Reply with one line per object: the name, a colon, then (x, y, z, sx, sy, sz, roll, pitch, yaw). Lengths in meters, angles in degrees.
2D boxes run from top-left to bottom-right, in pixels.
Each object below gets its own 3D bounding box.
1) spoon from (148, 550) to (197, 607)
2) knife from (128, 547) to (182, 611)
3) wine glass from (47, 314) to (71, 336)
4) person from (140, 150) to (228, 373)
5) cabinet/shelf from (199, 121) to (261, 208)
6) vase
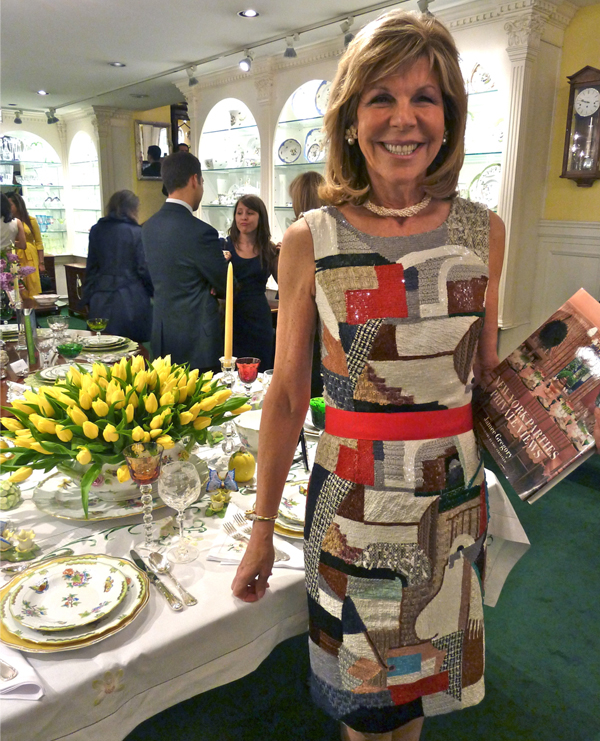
spoon: (-0.213, 0.350, 1.041, 0.039, 0.020, 0.155, -7, 10, -25)
knife: (-0.242, 0.359, 1.025, 0.042, 0.010, 0.228, -6, 14, -29)
wine glass: (-0.954, -0.183, 2.429, 0.097, 0.095, 0.094, -1, 11, -16)
person: (-0.618, -0.545, 3.226, 0.447, 1.165, 0.334, -5, 13, -8)
cabinet/shelf: (-0.542, -1.808, 5.480, 0.591, 0.483, 0.194, 4, 14, 29)
vase: (-0.343, 0.213, 1.213, 0.179, 0.071, 0.169, 0, 0, 8)
